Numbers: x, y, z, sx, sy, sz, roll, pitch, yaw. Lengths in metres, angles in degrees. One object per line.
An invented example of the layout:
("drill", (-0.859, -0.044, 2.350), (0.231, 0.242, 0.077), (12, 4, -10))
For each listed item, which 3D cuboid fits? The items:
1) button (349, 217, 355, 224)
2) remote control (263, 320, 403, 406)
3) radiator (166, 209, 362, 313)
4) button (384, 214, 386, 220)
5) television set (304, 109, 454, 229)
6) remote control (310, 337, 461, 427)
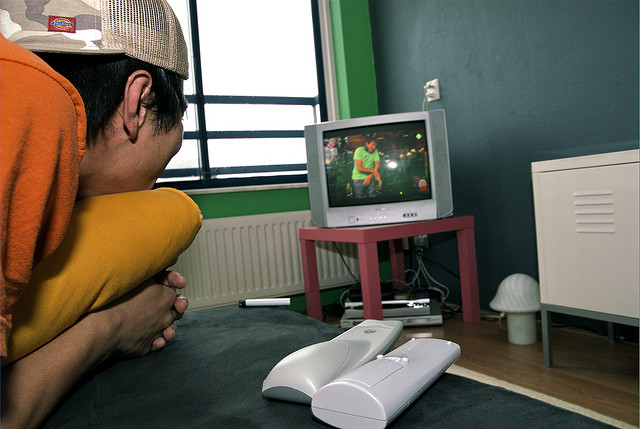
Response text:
("button", (0.169, 0.033, 2.455), (0.031, 0.030, 0.008), (-2, -4, 10))
("remote control", (0.032, 0.237, 0.821), (0.166, 0.087, 0.221), (2, 5, 14))
("radiator", (-0.529, 0.188, 3.201), (1.292, 0.549, 0.647), (-3, 6, -30))
("button", (0.333, 0.017, 2.409), (0.006, 0.022, 0.007), (-3, 7, 22))
("television set", (0.291, -0.223, 2.448), (0.726, 0.546, 0.141), (-3, 7, 17))
("remote control", (0.119, 0.260, 0.749), (0.265, 0.070, 0.099), (-10, 8, -39))
